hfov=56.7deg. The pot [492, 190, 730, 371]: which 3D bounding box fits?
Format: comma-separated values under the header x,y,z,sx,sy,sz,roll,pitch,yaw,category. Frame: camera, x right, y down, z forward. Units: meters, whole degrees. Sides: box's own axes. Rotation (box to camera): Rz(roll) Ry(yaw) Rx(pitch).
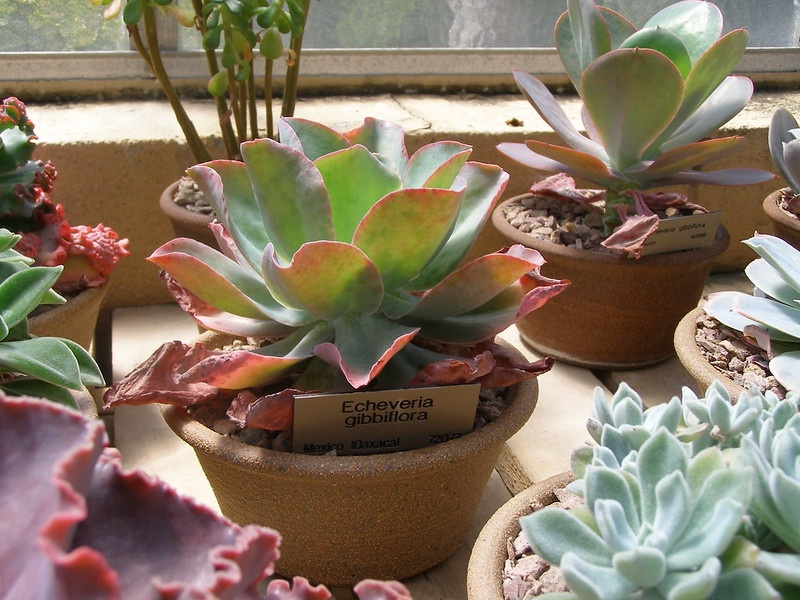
x,y,z,sx,sy,sz,roll,pitch,yaw,category
0.376,-0.035,1.412,0.444,0.231,0.384,0,23,0,pot
